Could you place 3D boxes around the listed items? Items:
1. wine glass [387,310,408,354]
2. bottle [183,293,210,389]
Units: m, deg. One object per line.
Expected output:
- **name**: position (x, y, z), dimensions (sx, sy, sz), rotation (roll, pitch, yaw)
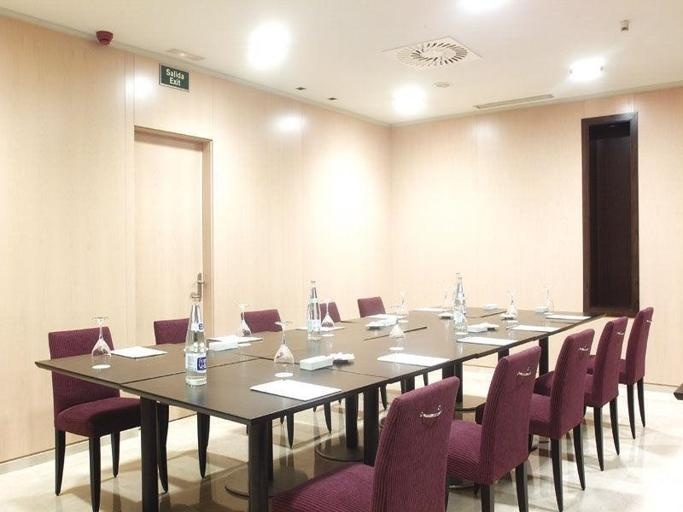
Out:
- **wine glass**: position (0.423, 0.575, 3.939), dimensions (0.161, 0.442, 0.171), rotation (-1, 0, 27)
- **bottle**: position (-0.794, 0.445, 2.878), dimensions (0.117, 0.489, 0.266), rotation (-1, -1, -17)
